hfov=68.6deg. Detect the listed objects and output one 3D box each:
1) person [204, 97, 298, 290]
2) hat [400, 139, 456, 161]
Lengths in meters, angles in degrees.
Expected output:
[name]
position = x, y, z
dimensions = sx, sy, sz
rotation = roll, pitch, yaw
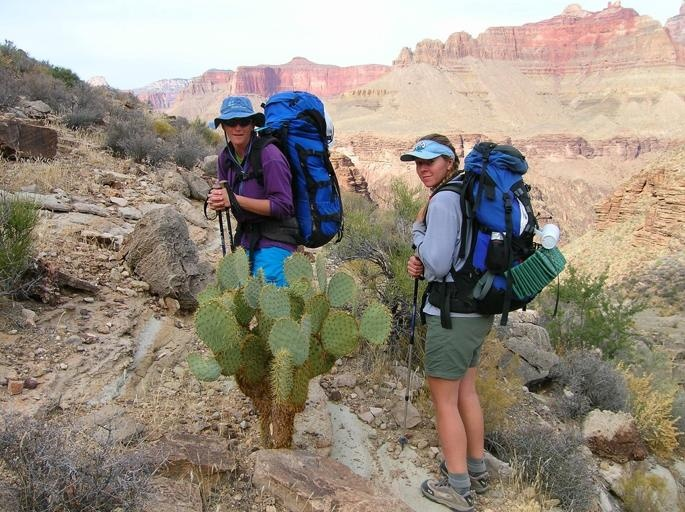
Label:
[person]
position = -0.793, -0.594, 4.467
dimensions = 0.800, 1.581, 0.577
rotation = 7, 20, 27
[hat]
position = 0.744, -0.890, 4.282
dimensions = 0.364, 0.122, 0.238
rotation = 0, -3, -29
